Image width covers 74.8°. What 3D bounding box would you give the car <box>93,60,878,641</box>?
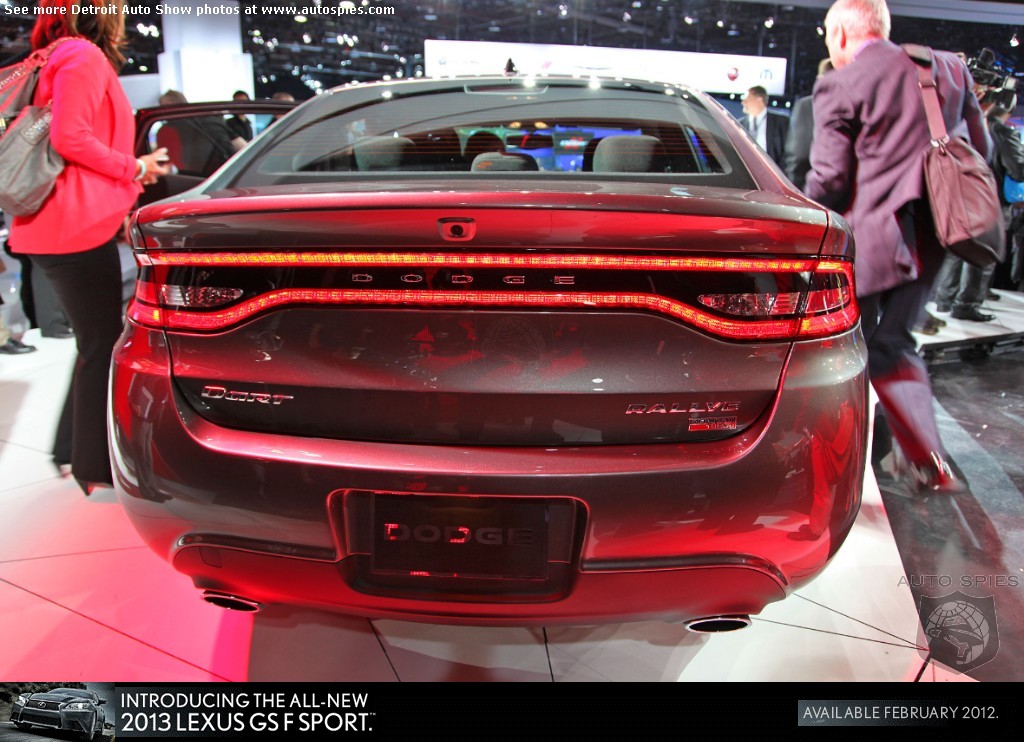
[{"bbox_3d":[0.104,-0.036,3.091,2.043,1.250,3.195,1,3,6],"label":"car"}]
